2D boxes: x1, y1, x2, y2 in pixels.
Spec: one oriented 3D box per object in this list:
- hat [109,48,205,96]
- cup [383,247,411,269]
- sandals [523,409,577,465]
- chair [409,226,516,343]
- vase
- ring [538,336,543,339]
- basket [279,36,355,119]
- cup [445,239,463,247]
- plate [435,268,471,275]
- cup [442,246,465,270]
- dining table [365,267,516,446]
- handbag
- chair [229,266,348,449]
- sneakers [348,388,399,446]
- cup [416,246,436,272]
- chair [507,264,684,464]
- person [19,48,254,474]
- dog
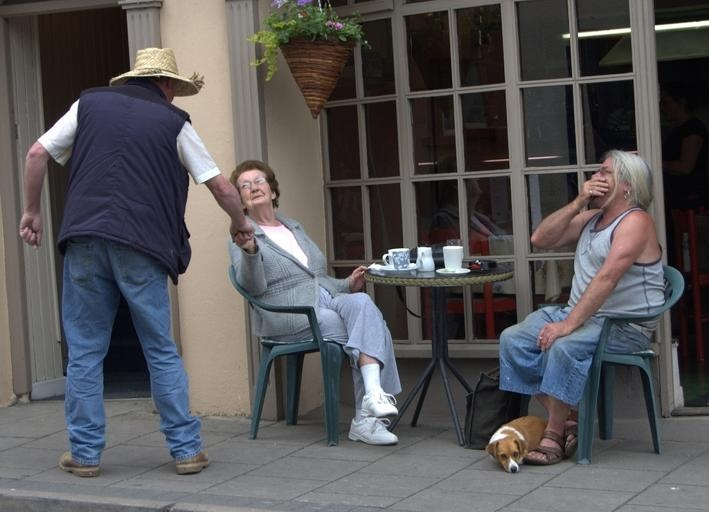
[{"bbox_3d":[-1.178,-1.096,5.104,0.517,0.196,0.532,3,-3,7],"label":"hat"},{"bbox_3d":[0.271,0.023,5.441,0.170,0.110,0.108,-1,0,-5],"label":"cup"},{"bbox_3d":[1.139,1.049,4.975,0.172,0.234,0.563,-4,1,32],"label":"sandals"},{"bbox_3d":[0.686,0.193,6.068,0.736,0.680,0.670,3,6,-13],"label":"chair"},{"bbox_3d":[-0.232,-1.186,5.869,0.534,0.450,0.516,6,-1,-41],"label":"vase"},{"bbox_3d":[1.080,0.475,4.975,0.016,0.014,0.015,-1,2,0],"label":"ring"},{"bbox_3d":[-0.266,-1.185,5.725,0.473,0.415,0.473,0,-3,0],"label":"basket"},{"bbox_3d":[0.645,-0.086,5.518,0.063,0.058,0.061,1,3,0],"label":"cup"},{"bbox_3d":[0.606,0.096,5.261,0.206,0.022,0.193,-1,6,6],"label":"plate"},{"bbox_3d":[0.611,0.013,5.355,0.147,0.136,0.120,1,1,4],"label":"cup"},{"bbox_3d":[0.555,0.605,5.531,0.997,0.977,0.926,2,-4,-38],"label":"dining table"},{"bbox_3d":[0.831,0.916,5.358,0.340,0.476,0.417,14,20,26],"label":"handbag"},{"bbox_3d":[-0.443,0.623,5.648,0.861,1.001,0.815,2,-5,-19],"label":"chair"},{"bbox_3d":[0.106,1.088,5.482,0.177,0.220,0.473,6,-8,-45],"label":"sneakers"},{"bbox_3d":[0.451,0.015,5.443,0.118,0.151,0.190,-1,6,4],"label":"cup"},{"bbox_3d":[1.634,0.640,5.074,0.742,0.919,0.733,-7,-6,42],"label":"chair"},{"bbox_3d":[-1.271,0.030,4.897,1.248,2.427,0.436,-3,7,-7],"label":"person"},{"bbox_3d":[0.921,1.057,4.877,0.173,0.143,0.437,-1,17,21],"label":"dog"}]
